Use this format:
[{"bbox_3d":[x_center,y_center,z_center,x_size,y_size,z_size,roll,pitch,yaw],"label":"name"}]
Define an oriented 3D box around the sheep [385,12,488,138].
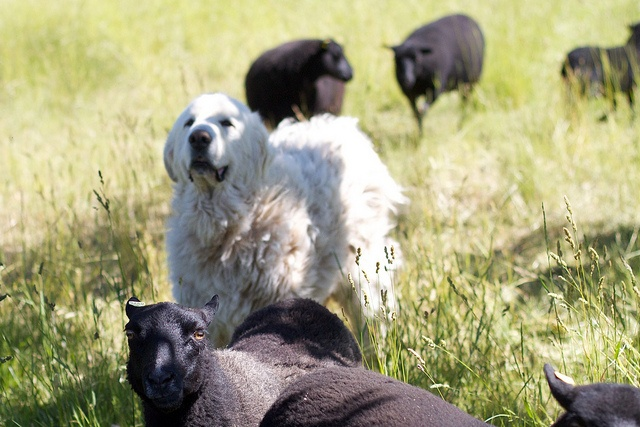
[{"bbox_3d":[1.438,-2.025,11.697,1.832,1.246,0.870,-31,21,-31],"label":"sheep"}]
